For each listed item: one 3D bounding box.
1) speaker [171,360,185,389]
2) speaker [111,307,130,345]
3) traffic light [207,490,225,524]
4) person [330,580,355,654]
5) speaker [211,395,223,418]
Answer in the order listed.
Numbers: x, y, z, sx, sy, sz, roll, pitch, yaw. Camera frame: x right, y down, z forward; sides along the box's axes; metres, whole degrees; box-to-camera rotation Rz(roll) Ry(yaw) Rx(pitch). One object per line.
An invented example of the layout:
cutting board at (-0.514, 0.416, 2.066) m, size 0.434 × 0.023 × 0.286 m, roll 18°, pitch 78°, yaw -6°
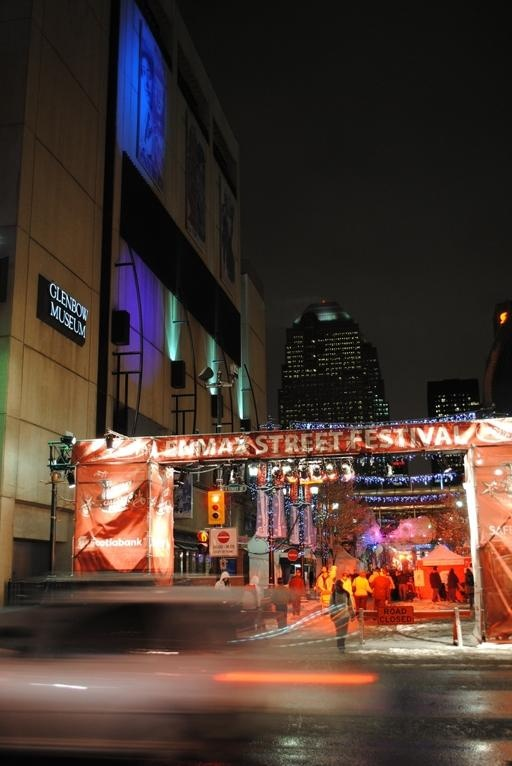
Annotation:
speaker at (-4.662, -0.623, 39.199) m, size 0.548 × 1.680 × 1.100 m, roll 7°, pitch -13°, yaw -37°
speaker at (-6.347, -2.708, 30.593) m, size 0.777 × 1.654 × 0.537 m, roll -2°, pitch -10°, yaw 8°
traffic light at (-1.131, 3.688, 19.108) m, size 0.457 × 1.050 × 0.614 m, roll -1°, pitch -10°, yaw 1°
person at (1.862, 5.327, 14.727) m, size 0.431 × 1.503 × 1.333 m, roll -2°, pitch -10°, yaw 6°
speaker at (-2.593, 1.484, 43.301) m, size 0.796 × 1.400 × 1.610 m, roll -2°, pitch -10°, yaw 3°
